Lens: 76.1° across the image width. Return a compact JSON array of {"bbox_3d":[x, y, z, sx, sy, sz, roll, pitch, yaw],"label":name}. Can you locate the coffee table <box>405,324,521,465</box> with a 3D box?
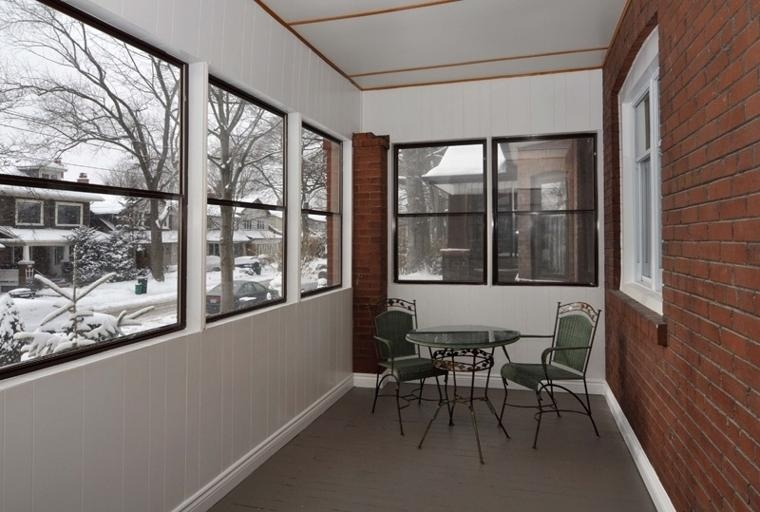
[{"bbox_3d":[0.820,1.318,4.726,1.036,1.043,1.000,2,-5,-18],"label":"coffee table"}]

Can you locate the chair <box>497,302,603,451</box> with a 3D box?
[{"bbox_3d":[1.843,1.299,5.125,1.006,1.691,1.081,2,-3,-15],"label":"chair"}]

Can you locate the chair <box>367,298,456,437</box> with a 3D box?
[{"bbox_3d":[0.339,1.110,5.235,0.919,1.269,0.897,-4,-5,36],"label":"chair"}]
